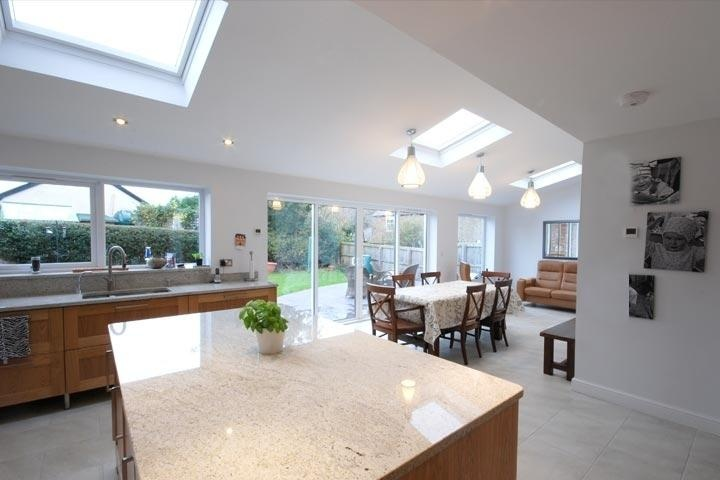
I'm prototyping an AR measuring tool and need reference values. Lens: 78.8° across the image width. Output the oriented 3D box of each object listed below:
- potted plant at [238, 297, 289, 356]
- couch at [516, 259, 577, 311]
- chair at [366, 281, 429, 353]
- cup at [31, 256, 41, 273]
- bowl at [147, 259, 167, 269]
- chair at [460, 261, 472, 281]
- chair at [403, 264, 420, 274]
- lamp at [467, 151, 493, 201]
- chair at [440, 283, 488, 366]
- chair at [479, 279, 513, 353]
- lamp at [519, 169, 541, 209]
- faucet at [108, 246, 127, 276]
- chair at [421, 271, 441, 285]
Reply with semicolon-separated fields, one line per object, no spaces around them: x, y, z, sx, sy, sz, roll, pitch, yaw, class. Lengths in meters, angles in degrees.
-0.742;0.676;3.323;0.309;0.356;0.247;1;-9;-12;potted plant
3.801;0.875;8.433;0.687;0.860;1.252;-5;5;-40;couch
0.437;1.003;5.575;0.609;0.898;0.655;-4;4;-36;chair
-3.578;0.265;4.859;0.077;0.181;0.232;0;-3;-34;cup
-2.483;0.275;5.350;0.137;0.082;0.147;1;4;0;bowl
1.786;0.538;7.537;0.195;0.288;0.186;-2;-2;35;chair
0.853;0.490;7.445;0.203;0.153;0.717;-1;-3;13;chair
1.526;-0.826;5.573;0.222;0.486;0.223;1;-3;-9;lamp
1.313;1.048;5.836;0.563;0.976;0.605;-2;6;-33;chair
1.814;1.014;6.216;0.606;0.935;0.597;-1;3;-33;chair
2.468;-0.732;6.353;0.221;0.524;0.242;-11;11;-35;lamp
-2.835;0.237;5.148;0.179;0.358;0.495;0;-3;-27;faucet
1.170;0.630;7.253;0.206;0.347;0.212;-3;8;-27;chair
